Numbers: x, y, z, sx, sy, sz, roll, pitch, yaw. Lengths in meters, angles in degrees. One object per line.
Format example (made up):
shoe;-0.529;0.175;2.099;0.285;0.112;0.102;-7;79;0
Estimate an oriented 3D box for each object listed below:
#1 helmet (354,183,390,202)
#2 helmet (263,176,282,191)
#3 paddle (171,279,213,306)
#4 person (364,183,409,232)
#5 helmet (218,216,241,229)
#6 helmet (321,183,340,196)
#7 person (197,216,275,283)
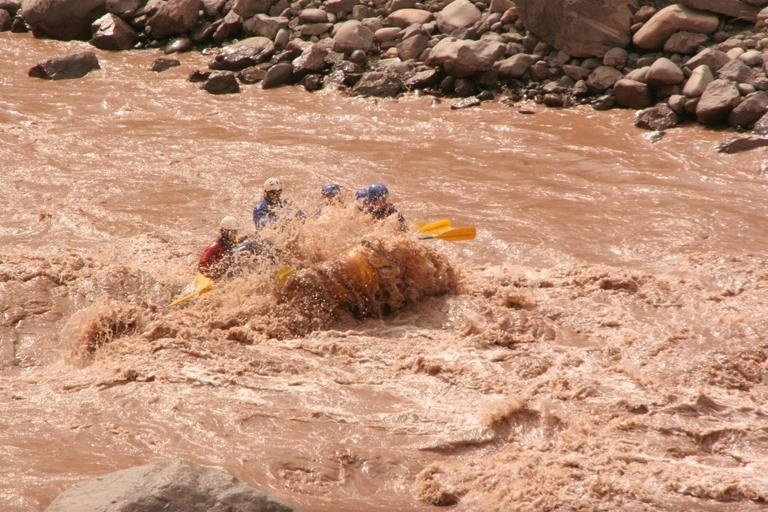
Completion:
helmet;-0.217;-1.152;21.846;0.555;0.151;0.342;-14;12;2
helmet;-2.012;-1.284;21.678;0.274;0.217;0.284;-17;32;-34
paddle;-3.215;0.589;20.621;0.331;0.077;0.942;19;36;38
person;0.002;-0.878;21.741;0.734;0.692;0.830;-5;27;-14
helmet;-2.696;-0.562;21.182;0.336;0.191;0.317;17;23;34
helmet;-1.004;-1.223;22.189;0.355;0.171;0.296;1;8;9
person;-2.710;-0.100;21.046;1.437;0.489;1.149;-23;37;-1
